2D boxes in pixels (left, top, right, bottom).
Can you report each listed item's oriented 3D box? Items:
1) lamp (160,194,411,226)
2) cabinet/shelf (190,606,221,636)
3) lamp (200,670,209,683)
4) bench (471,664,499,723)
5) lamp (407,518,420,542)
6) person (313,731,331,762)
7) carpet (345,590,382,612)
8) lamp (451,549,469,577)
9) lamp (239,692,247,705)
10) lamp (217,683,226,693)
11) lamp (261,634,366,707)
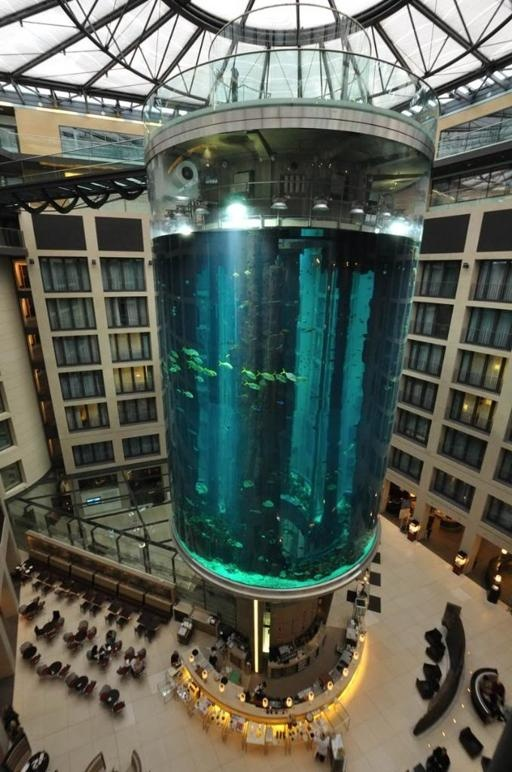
[{"bbox_3d":[0.619,-3.207,9.588,4.433,0.703,0.799,0,23,-1],"label":"lamp"},{"bbox_3d":[-1.737,8.278,18.124,1.212,0.543,0.576,13,26,27],"label":"cabinet/shelf"},{"bbox_3d":[-1.561,8.981,15.929,0.173,0.288,0.283,0,-3,-3],"label":"lamp"},{"bbox_3d":[6.908,9.466,15.809,0.868,0.884,0.256,30,-25,-20],"label":"bench"},{"bbox_3d":[7.189,6.656,23.703,0.529,0.970,0.435,16,28,35],"label":"lamp"},{"bbox_3d":[1.813,10.166,14.435,0.394,0.311,0.878,9,58,2],"label":"person"},{"bbox_3d":[4.073,8.161,19.552,1.237,0.269,0.916,5,24,12],"label":"carpet"},{"bbox_3d":[8.353,7.353,21.320,0.547,0.991,0.580,17,28,36],"label":"lamp"},{"bbox_3d":[-0.396,9.340,15.391,0.213,0.220,0.248,-3,23,-6],"label":"lamp"},{"bbox_3d":[-1.024,9.146,15.581,0.188,0.221,0.193,-3,23,-7],"label":"lamp"},{"bbox_3d":[1.825,9.079,16.530,3.462,0.494,1.545,-20,30,-38],"label":"lamp"}]
